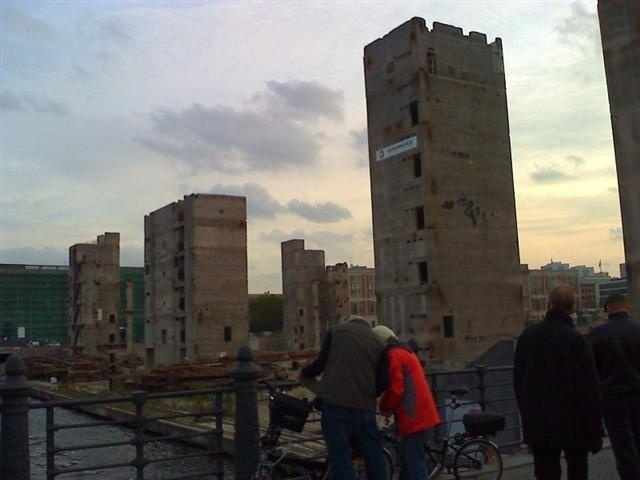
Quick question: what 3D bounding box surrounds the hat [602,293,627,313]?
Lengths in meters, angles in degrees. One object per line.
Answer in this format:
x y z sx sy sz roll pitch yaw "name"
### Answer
4.801 1.023 10.950 0.267 0.319 0.360 2 4 13 "hat"
